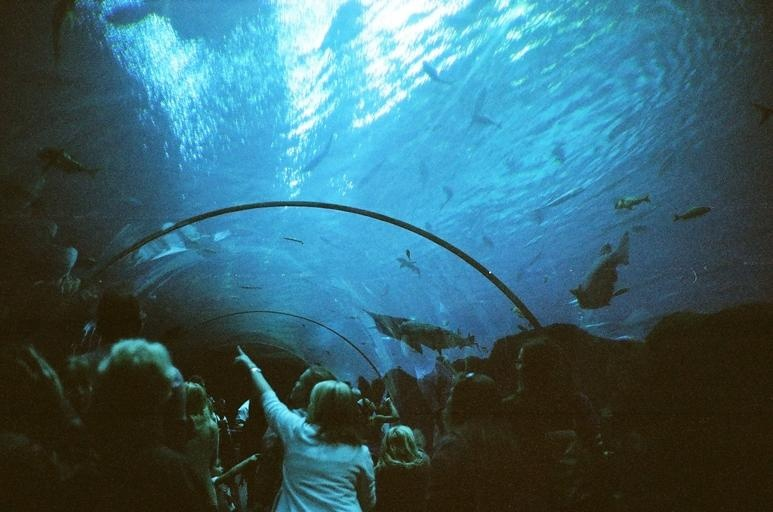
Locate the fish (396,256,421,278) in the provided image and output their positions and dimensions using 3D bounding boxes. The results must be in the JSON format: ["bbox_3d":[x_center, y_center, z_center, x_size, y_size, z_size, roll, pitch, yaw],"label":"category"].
[{"bbox_3d":[0.366,0.155,11.248,0.505,0.299,0.180,32,23,-21],"label":"fish"}]

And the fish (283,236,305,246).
[{"bbox_3d":[-1.630,-0.268,10.789,0.346,0.032,0.049,19,-20,-15],"label":"fish"}]

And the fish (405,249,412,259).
[{"bbox_3d":[0.366,-0.043,11.145,0.098,0.175,0.073,-11,8,-21],"label":"fish"}]

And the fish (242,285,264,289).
[{"bbox_3d":[-2.424,0.536,11.217,0.414,0.079,0.050,2,20,-17],"label":"fish"}]

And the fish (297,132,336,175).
[{"bbox_3d":[-1.105,-1.598,9.933,0.622,0.530,0.128,-5,9,19],"label":"fish"}]

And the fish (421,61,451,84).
[{"bbox_3d":[0.717,-2.798,9.599,0.523,0.199,0.113,29,-9,-23],"label":"fish"}]
